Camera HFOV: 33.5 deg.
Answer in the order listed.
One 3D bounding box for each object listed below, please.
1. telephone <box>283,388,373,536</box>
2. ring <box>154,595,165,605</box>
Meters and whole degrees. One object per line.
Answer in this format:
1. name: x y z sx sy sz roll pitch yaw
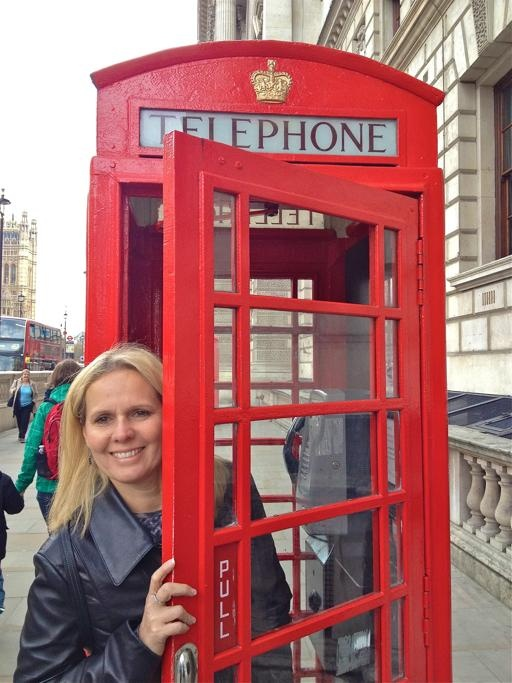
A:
1. telephone: 0.241 0.434 2.952 0.214 0.494 0.261 2 -11 -4
2. ring: -0.268 0.707 2.354 0.024 0.034 0.017 -2 2 -9
